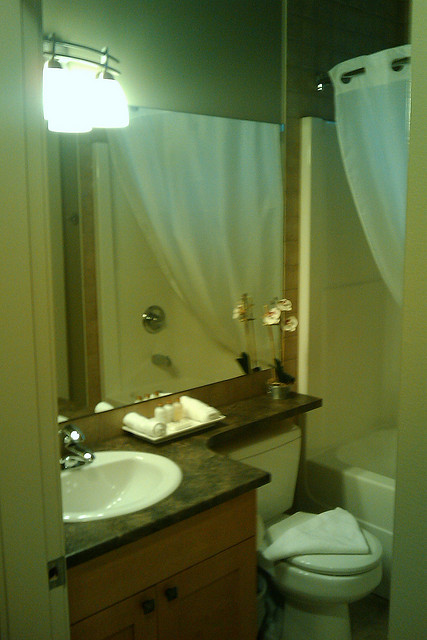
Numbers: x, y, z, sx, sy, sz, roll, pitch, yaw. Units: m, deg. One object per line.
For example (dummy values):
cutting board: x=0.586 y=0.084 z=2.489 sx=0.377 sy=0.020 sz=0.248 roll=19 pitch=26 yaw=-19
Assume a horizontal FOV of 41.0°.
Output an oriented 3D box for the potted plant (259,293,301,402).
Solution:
potted plant: x=0.274 y=0.117 z=2.419 sx=0.180 sy=0.443 sz=0.341 roll=6 pitch=11 yaw=8

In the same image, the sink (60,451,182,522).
sink: x=-0.246 y=0.476 z=1.551 sx=0.321 sy=0.125 sz=0.412 roll=1 pitch=10 yaw=-16

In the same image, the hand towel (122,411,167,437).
hand towel: x=-0.226 y=0.330 z=1.846 sx=0.070 sy=0.051 sz=0.182 roll=-6 pitch=14 yaw=-43

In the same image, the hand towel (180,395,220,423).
hand towel: x=-0.057 y=0.301 z=1.969 sx=0.098 sy=0.034 sz=0.079 roll=17 pitch=18 yaw=41
